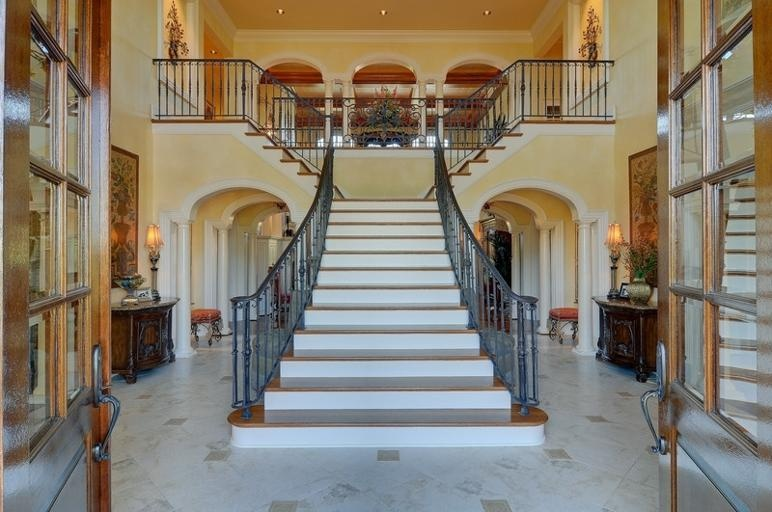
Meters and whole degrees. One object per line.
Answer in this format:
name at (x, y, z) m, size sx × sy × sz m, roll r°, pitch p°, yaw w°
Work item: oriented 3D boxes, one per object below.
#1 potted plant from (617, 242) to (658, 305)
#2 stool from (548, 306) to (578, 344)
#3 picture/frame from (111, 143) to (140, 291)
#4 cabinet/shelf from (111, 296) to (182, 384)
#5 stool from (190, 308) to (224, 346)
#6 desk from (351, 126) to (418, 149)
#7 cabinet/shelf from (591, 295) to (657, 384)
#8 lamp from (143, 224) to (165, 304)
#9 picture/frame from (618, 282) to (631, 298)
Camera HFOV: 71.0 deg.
potted plant at (3.192, 0.210, 6.841) m, size 0.403 × 0.740 × 0.951 m, roll 2°, pitch 4°, yaw 24°
stool at (2.895, 1.095, 8.793) m, size 0.494 × 0.548 × 0.756 m, roll -2°, pitch 3°, yaw 7°
picture/frame at (-3.284, -0.460, 6.751) m, size 0.257 × 1.711 × 0.707 m, roll -1°, pitch 4°, yaw -10°
cabinet/shelf at (-2.986, 1.034, 6.671) m, size 0.545 × 0.862 × 1.241 m, roll -1°, pitch 0°, yaw -1°
stool at (-2.846, 1.134, 8.605) m, size 0.566 × 0.536 × 0.571 m, roll 1°, pitch -1°, yaw -3°
desk at (-0.014, -2.024, 9.427) m, size 1.064 × 0.377 × 0.823 m, roll 0°, pitch 4°, yaw 0°
cabinet/shelf at (2.909, 1.037, 6.543) m, size 0.409 × 0.641 × 1.023 m, roll 1°, pitch 0°, yaw -3°
lamp at (-3.020, 0.087, 7.084) m, size 0.213 × 0.951 × 0.784 m, roll -2°, pitch 4°, yaw -23°
picture/frame at (3.105, 0.468, 7.030) m, size 0.200 × 0.261 × 0.021 m, roll 2°, pitch -8°, yaw 23°
